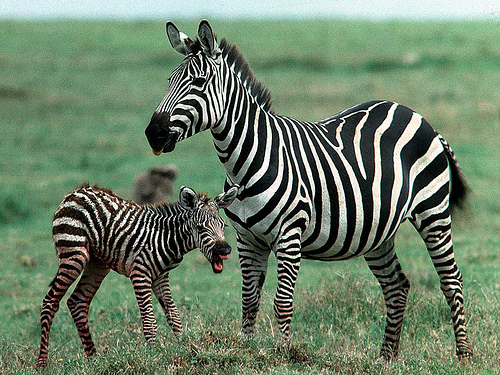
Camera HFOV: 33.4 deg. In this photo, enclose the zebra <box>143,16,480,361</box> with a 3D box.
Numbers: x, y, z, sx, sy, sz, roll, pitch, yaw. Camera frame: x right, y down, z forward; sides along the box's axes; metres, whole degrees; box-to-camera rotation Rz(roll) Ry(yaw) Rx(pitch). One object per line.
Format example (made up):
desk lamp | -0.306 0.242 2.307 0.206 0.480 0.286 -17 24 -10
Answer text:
zebra | 1.187 0.311 13.598 5.915 5.438 2.031 1 4 -25
